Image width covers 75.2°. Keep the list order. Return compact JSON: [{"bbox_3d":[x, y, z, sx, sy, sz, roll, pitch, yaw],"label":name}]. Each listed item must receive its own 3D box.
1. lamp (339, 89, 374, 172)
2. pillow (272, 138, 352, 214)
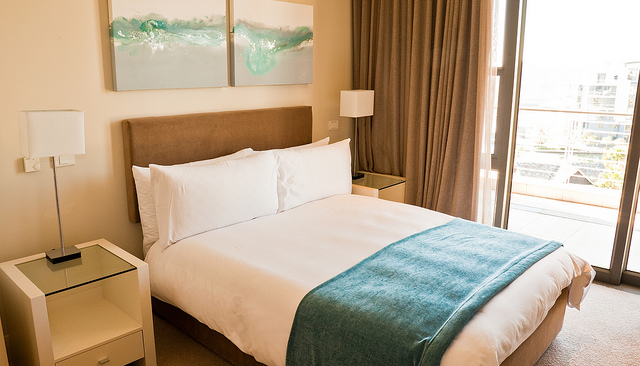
[{"bbox_3d":[0.456,-0.691,5.499,0.466,1.048,0.517,10,21,31],"label":"lamp"},{"bbox_3d":[-0.097,-0.048,4.604,0.880,0.492,0.164,-15,8,-35],"label":"pillow"}]
